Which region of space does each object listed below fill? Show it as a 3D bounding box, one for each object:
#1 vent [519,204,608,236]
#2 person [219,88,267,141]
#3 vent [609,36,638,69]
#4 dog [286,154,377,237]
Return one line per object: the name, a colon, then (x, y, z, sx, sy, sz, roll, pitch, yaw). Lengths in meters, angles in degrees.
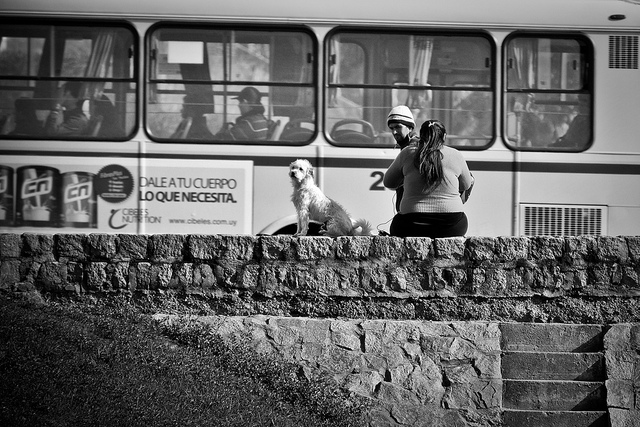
vent: (3.774, 0.226, 12.030, 1.326, 0.557, 0.472, 1, -26, 18)
person: (-1.100, -1.497, 12.018, 0.613, 0.873, 0.941, 19, 19, 41)
vent: (4.691, -2.456, 12.054, 0.450, 0.490, 0.113, 2, 5, -2)
dog: (0.090, -0.228, 11.458, 1.316, 1.089, 0.920, 4, 2, 6)
